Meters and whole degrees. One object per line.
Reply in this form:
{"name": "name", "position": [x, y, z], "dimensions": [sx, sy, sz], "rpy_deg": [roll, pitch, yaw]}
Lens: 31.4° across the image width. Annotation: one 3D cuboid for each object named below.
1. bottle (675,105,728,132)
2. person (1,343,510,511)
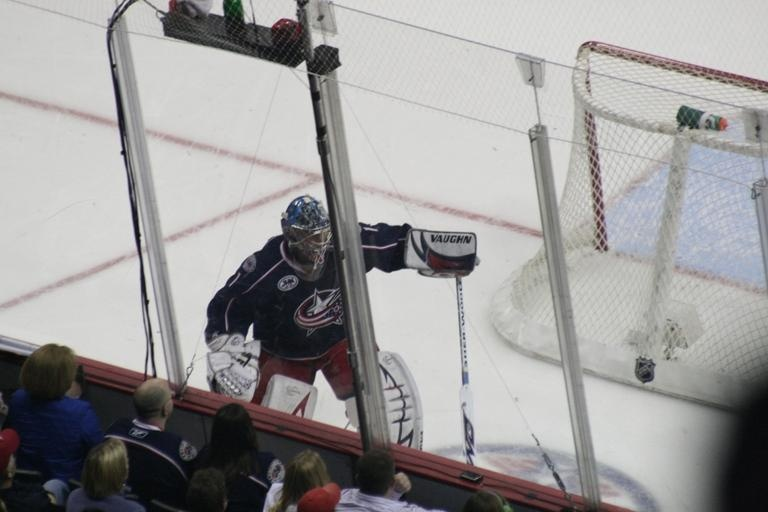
{"name": "bottle", "position": [2.198, -0.936, 9.417], "dimensions": [0.276, 0.171, 0.109], "rpy_deg": [27, -16, 30]}
{"name": "person", "position": [-0.975, 1.177, 9.416], "dimensions": [3.294, 0.595, 0.202], "rpy_deg": [10, -24, 6]}
